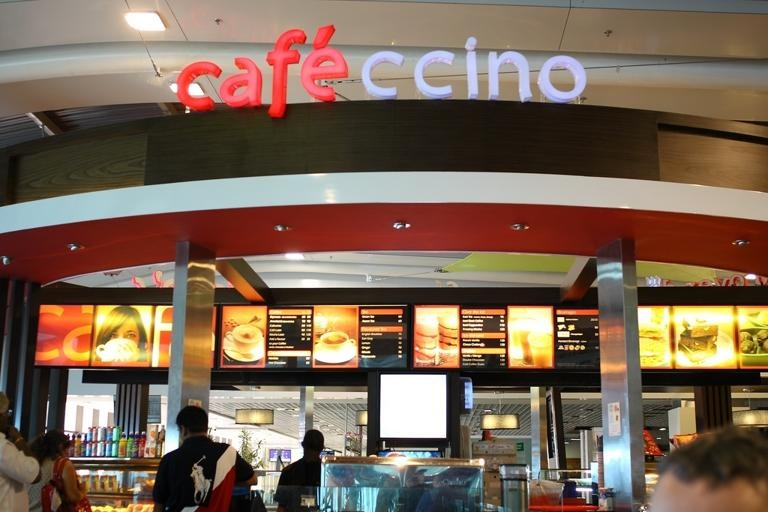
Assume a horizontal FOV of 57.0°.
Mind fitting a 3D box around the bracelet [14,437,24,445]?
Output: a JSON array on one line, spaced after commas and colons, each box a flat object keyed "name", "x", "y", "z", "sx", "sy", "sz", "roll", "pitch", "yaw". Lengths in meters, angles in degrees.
[{"name": "bracelet", "x": -2.827, "y": 1.423, "z": 5.442, "sx": 0.047, "sy": 0.035, "sz": 0.047, "roll": 1, "pitch": -16, "yaw": -11}]
